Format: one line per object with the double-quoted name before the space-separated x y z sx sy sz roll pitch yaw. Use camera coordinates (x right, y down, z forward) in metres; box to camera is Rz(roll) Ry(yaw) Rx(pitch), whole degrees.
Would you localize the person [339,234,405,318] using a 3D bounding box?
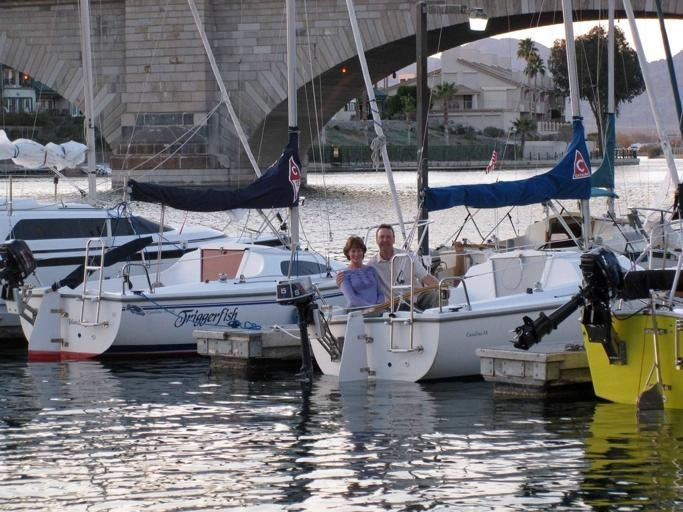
"person" 0.286 0.314 25.804 0.781 1.198 0.503 -3 2 0
